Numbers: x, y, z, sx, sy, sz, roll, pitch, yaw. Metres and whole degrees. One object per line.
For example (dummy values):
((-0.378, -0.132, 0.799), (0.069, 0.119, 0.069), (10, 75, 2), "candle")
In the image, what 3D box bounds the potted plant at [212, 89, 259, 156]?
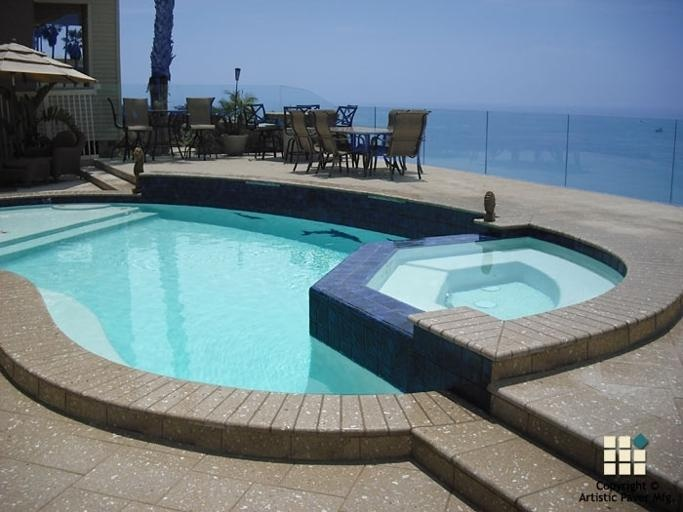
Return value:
((-3.140, -4.121, 14.988), (1.256, 1.594, 1.551), (5, 20, 19), "potted plant")
